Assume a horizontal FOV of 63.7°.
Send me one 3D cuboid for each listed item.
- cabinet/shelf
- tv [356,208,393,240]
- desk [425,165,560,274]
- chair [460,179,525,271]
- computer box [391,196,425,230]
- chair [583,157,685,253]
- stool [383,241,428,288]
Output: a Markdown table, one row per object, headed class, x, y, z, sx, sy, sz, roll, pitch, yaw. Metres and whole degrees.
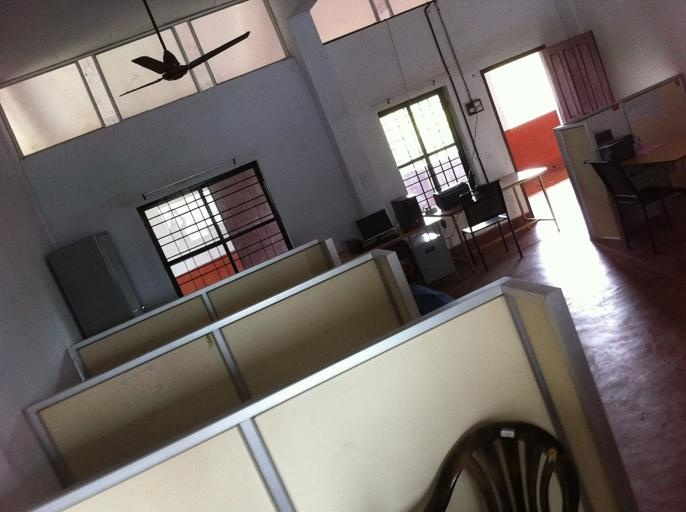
| class | x | y | z | sx | sy | sz | roll | pitch | yaw |
| --- | --- | --- | --- | --- | --- | --- | --- | --- | --- |
| cabinet/shelf | -3.042 | 0.331 | 6.859 | 0.913 | 1.313 | 0.544 | -24 | 12 | -40 |
| tv | 0.434 | -0.435 | 7.628 | 0.335 | 0.265 | 0.102 | -24 | 11 | 2 |
| desk | 2.005 | -0.475 | 7.705 | 1.068 | 0.802 | 0.656 | -27 | 29 | 0 |
| chair | 2.044 | -0.400 | 7.624 | 0.566 | 1.198 | 0.703 | -22 | 32 | -1 |
| computer box | 0.875 | -0.576 | 7.586 | 0.282 | 0.534 | 0.273 | -26 | 9 | -20 |
| chair | 3.256 | -0.578 | 6.075 | 0.625 | 1.144 | 0.551 | -34 | 14 | -1 |
| stool | 0.864 | 0.128 | 7.493 | 0.351 | 0.653 | 0.717 | -16 | 9 | 0 |
